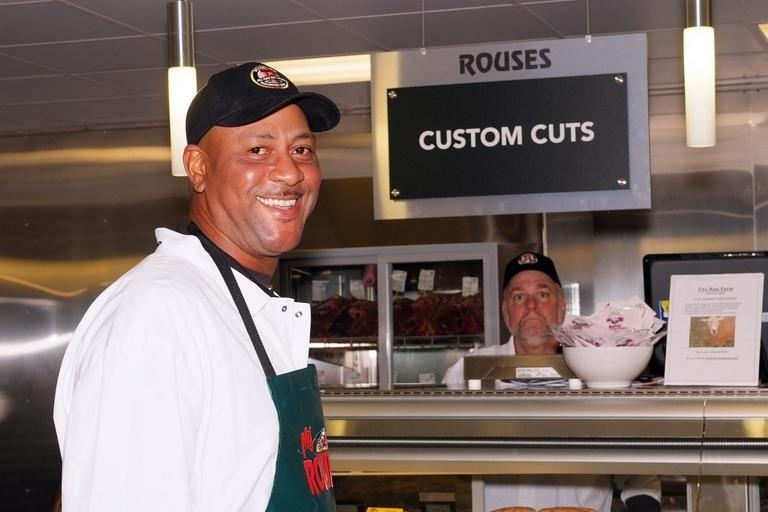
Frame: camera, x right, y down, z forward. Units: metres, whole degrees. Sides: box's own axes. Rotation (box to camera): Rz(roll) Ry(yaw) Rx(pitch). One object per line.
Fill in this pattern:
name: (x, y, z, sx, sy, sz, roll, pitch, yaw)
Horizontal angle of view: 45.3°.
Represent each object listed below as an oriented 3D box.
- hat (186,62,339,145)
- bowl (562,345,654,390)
hat: (-0.431, -0.552, 3.211, 0.430, 0.256, 0.329, -23, -4, 30)
bowl: (0.972, 0.453, 3.995, 0.381, 0.170, 0.399, -5, 8, 1)
